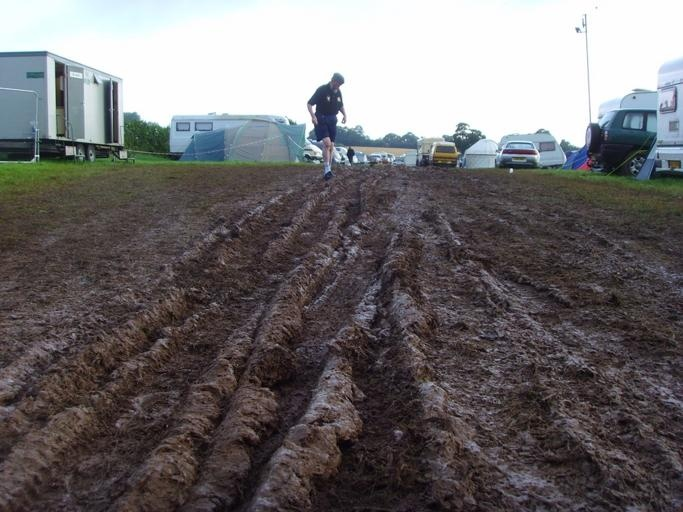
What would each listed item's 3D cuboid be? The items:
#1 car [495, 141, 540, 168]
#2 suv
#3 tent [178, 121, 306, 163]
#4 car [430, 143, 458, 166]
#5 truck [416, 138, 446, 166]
[{"bbox_3d":[7.945,-4.448,21.887,1.599,1.080,1.113,4,13,5],"label":"car"},{"bbox_3d":[8.696,-3.636,15.304,2.757,1.389,1.512,-5,15,5],"label":"suv"},{"bbox_3d":[-4.365,-5.109,22.444,4.264,1.439,3.053,-3,22,-7],"label":"tent"},{"bbox_3d":[6.743,-6.617,31.955,1.720,1.483,2.085,5,13,8],"label":"car"},{"bbox_3d":[7.152,-7.716,36.964,1.946,2.455,2.858,-1,21,1],"label":"truck"}]
